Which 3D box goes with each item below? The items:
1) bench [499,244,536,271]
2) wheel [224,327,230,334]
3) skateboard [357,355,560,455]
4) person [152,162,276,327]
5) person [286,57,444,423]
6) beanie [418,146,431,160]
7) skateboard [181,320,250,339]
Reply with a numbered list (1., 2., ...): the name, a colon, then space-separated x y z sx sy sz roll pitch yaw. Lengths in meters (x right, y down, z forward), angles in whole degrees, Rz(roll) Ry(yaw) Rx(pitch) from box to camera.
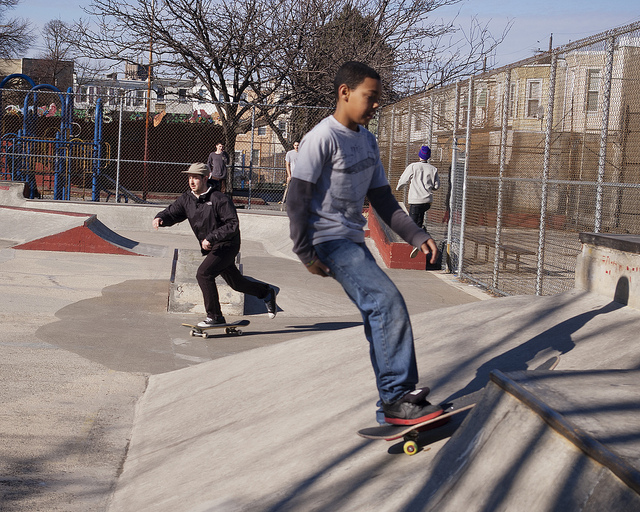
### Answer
1. bench: 3.017 -0.025 8.677 0.347 0.273 0.598 4 1 3
2. wheel: -1.144 0.896 6.934 0.040 0.075 0.095 -5 9 -33
3. skateboard: 0.550 0.848 3.134 0.612 0.333 0.477 3 7 16
4. person: -1.270 -0.136 6.893 1.367 1.919 0.592 -1 8 -11
5. person: 0.333 -0.129 3.321 0.837 2.010 0.687 6 10 35
6. beanie: 2.158 -2.115 11.754 0.195 0.285 0.389 2 7 9
7. skateboard: -1.283 0.866 6.889 0.964 0.149 0.276 2 5 -33
